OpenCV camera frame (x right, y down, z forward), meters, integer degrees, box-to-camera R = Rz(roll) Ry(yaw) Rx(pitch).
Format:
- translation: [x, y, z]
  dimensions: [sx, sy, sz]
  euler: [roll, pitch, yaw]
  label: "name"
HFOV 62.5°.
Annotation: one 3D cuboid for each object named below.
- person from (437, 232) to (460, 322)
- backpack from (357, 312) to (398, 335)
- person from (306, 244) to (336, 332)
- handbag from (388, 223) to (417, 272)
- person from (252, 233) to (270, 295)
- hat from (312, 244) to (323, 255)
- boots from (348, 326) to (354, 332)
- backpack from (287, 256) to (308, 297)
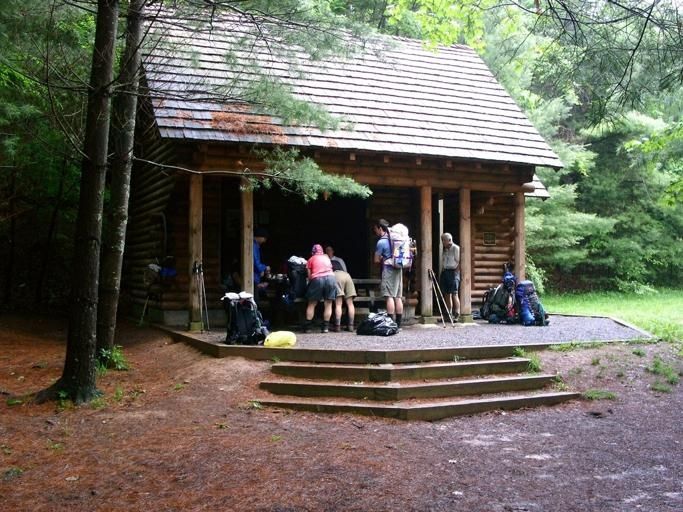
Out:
- translation: [2.790, 0.523, 14.370]
  dimensions: [0.510, 2.275, 1.205]
  euler: [2, 9, 10]
  label: "person"
- translation: [0.768, 1.416, 11.752]
  dimensions: [0.864, 0.388, 0.463]
  euler: [1, 9, 3]
  label: "backpack"
- translation: [-0.434, 0.709, 11.907]
  dimensions: [0.685, 1.858, 0.530]
  euler: [-3, 9, -19]
  label: "person"
- translation: [1.221, -0.184, 12.232]
  dimensions: [0.624, 1.000, 0.382]
  euler: [-1, -3, -28]
  label: "handbag"
- translation: [-1.801, 0.199, 12.612]
  dimensions: [0.327, 1.609, 1.091]
  euler: [0, 9, -7]
  label: "person"
- translation: [-0.503, -0.172, 12.049]
  dimensions: [0.204, 0.269, 0.236]
  euler: [4, -11, -8]
  label: "hat"
- translation: [0.223, 1.573, 12.355]
  dimensions: [0.102, 0.106, 0.107]
  euler: [2, -2, -2]
  label: "boots"
- translation: [-0.945, 0.452, 12.036]
  dimensions: [0.395, 0.846, 0.401]
  euler: [0, 9, -7]
  label: "backpack"
